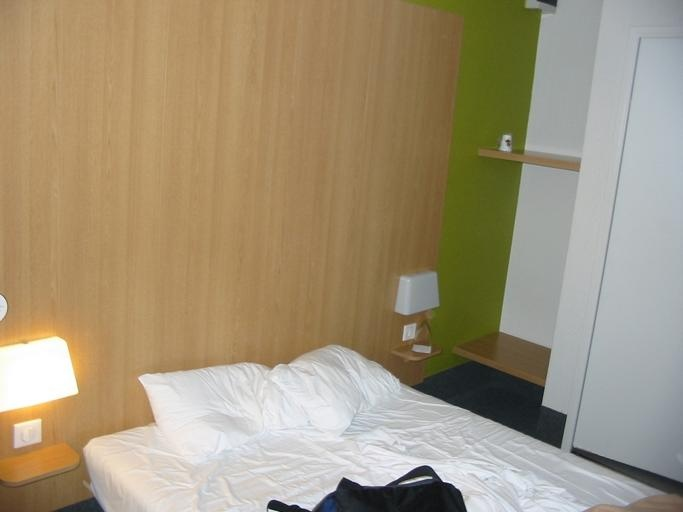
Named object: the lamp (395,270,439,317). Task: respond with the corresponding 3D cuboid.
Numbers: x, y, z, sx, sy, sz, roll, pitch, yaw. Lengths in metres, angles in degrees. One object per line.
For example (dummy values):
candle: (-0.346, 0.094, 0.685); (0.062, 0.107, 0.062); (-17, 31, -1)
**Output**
lamp: (0.591, 0.291, 4.407); (0.319, 0.238, 0.123); (-6, 13, -41)
